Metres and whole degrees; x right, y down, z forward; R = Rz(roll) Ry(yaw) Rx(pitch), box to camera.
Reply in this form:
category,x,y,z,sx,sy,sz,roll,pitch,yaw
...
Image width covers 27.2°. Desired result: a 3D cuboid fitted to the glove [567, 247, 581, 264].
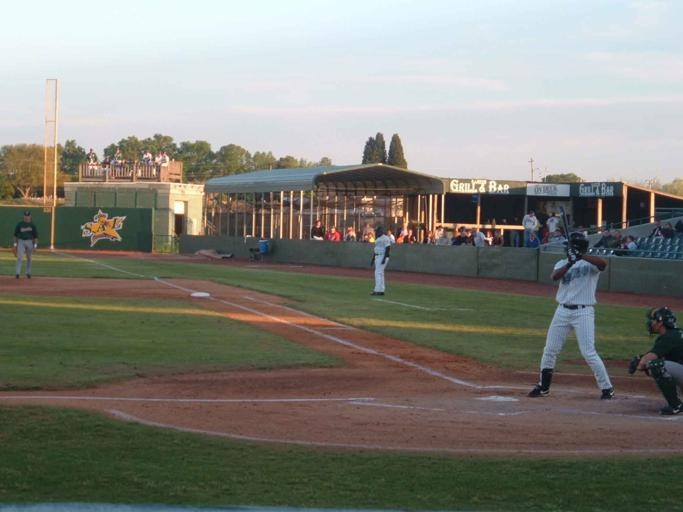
category,x,y,z,sx,sy,sz,roll,pitch,yaw
glove,4.688,-0.028,28.406,0.266,0.298,0.218,-3,13,-25

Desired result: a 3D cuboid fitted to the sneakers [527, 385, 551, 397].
category,x,y,z,sx,sy,sz,roll,pitch,yaw
sneakers,4.025,2.762,28.826,0.498,0.202,0.184,0,1,-8

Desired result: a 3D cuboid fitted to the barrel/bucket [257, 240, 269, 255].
category,x,y,z,sx,sy,sz,roll,pitch,yaw
barrel/bucket,-3.384,-0.436,59.393,0.550,0.568,0.542,2,0,0

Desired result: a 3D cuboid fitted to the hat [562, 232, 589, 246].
category,x,y,z,sx,sy,sz,roll,pitch,yaw
hat,4.820,-0.394,28.863,0.516,0.230,0.675,1,0,12

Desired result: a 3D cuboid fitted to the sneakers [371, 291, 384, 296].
category,x,y,z,sx,sy,sz,roll,pitch,yaw
sneakers,1.052,1.076,41.521,0.357,0.126,0.123,4,-2,-7

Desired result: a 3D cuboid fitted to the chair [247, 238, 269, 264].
category,x,y,z,sx,sy,sz,roll,pitch,yaw
chair,-3.557,-0.279,59.617,0.931,0.844,0.918,1,-4,6
